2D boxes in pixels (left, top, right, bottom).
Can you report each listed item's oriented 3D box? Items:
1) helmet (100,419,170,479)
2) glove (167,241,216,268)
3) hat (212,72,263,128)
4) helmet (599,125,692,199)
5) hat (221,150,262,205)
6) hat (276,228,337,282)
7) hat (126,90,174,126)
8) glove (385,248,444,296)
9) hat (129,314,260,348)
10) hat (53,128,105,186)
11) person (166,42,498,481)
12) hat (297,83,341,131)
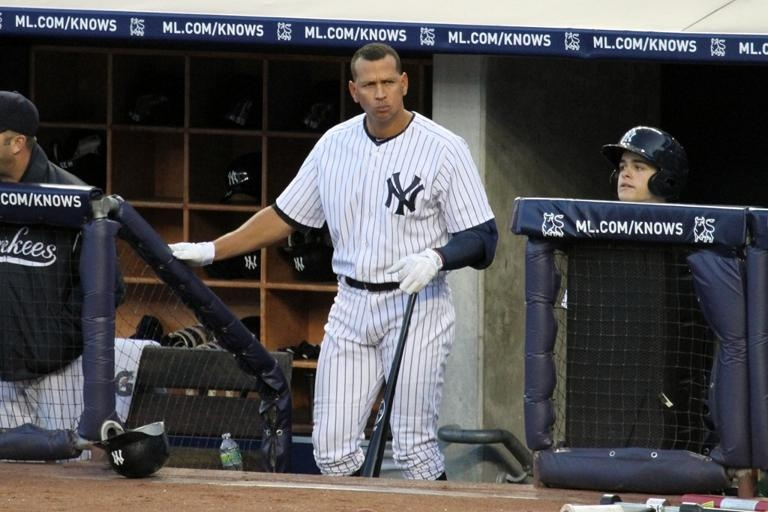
[{"bbox_3d":[-1.083,0.836,7.281,0.267,0.188,0.255,7,-6,-16],"label":"helmet"},{"bbox_3d":[-0.904,-0.006,7.886,0.161,0.046,0.119,3,20,-32],"label":"glove"},{"bbox_3d":[-0.892,-0.958,10.272,0.268,0.334,0.092,4,-20,18],"label":"hat"},{"bbox_3d":[1.238,-0.438,8.048,0.435,0.328,0.318,7,-10,-9],"label":"helmet"},{"bbox_3d":[-0.863,-0.473,10.270,0.246,0.273,0.322,3,40,17],"label":"hat"},{"bbox_3d":[-0.456,-0.006,10.086,0.369,0.310,0.286,-2,8,26],"label":"hat"},{"bbox_3d":[-1.433,-0.893,10.193,0.241,0.171,0.083,2,-7,-13],"label":"hat"},{"bbox_3d":[0.145,0.065,7.682,0.189,0.064,0.244,16,28,23],"label":"glove"},{"bbox_3d":[-1.194,0.468,9.904,0.508,0.166,0.365,1,0,-1],"label":"hat"},{"bbox_3d":[-1.839,-0.598,10.178,0.399,0.290,0.248,7,12,32],"label":"hat"},{"bbox_3d":[-0.071,0.036,8.005,1.058,2.059,0.611,-2,-4,36],"label":"person"},{"bbox_3d":[-0.386,-0.920,10.140,0.125,0.301,0.233,25,-26,-34],"label":"hat"}]
